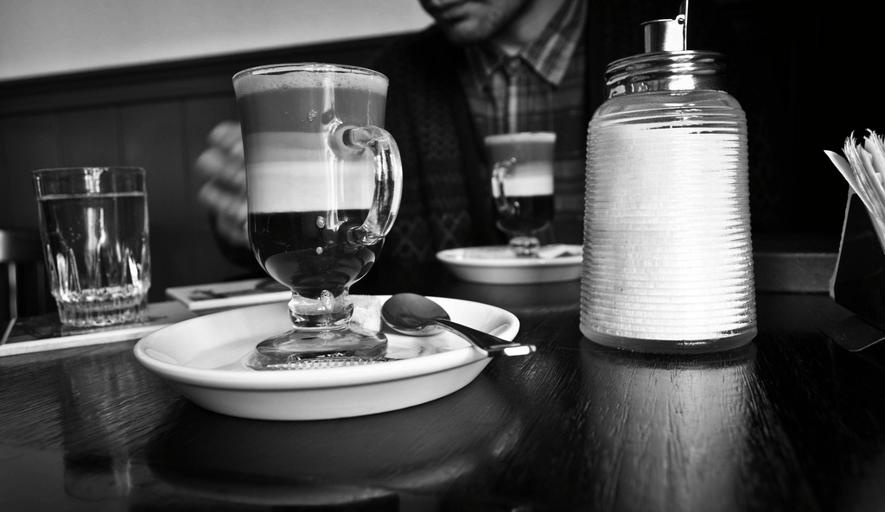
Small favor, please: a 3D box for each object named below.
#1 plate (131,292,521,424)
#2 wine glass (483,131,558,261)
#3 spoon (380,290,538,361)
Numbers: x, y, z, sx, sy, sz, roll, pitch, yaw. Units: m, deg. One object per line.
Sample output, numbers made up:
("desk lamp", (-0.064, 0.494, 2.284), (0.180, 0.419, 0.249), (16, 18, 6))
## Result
("plate", (-0.146, 0.103, 0.809), (0.403, 0.038, 0.369), (-4, 9, -13))
("wine glass", (0.157, -0.120, 1.346), (0.124, 0.237, 0.196), (-4, 9, 8))
("spoon", (0.011, 0.058, 0.788), (0.069, 0.030, 0.289), (-8, 11, -23))
